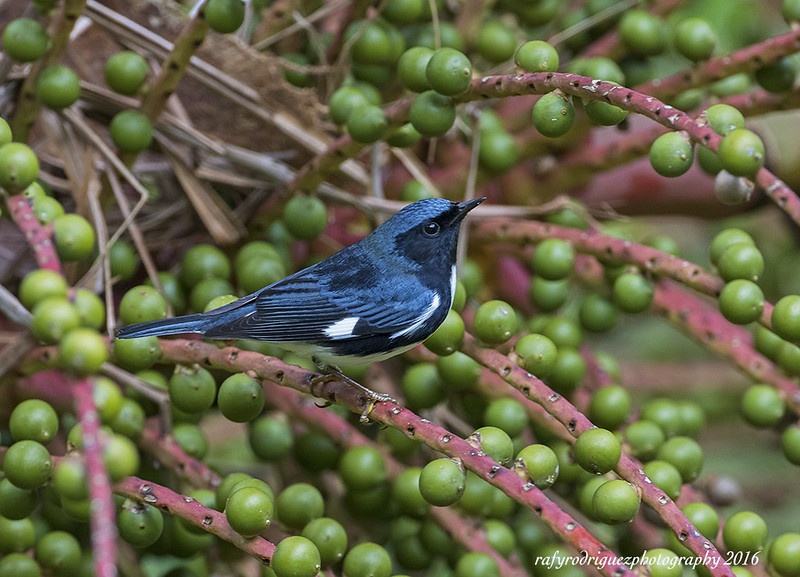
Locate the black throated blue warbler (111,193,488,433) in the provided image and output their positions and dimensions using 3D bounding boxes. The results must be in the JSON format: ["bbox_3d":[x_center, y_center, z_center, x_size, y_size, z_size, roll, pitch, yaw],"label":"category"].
[{"bbox_3d":[-0.215,0.071,3.106,1.001,0.367,0.652,-6,-78,7],"label":"black throated blue warbler"}]
